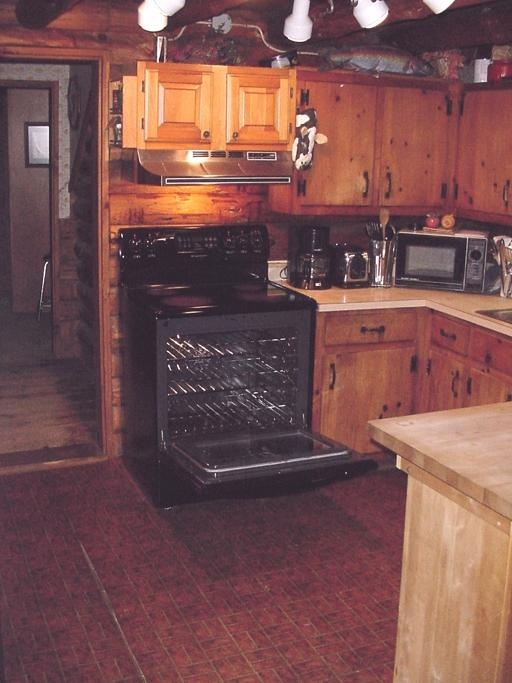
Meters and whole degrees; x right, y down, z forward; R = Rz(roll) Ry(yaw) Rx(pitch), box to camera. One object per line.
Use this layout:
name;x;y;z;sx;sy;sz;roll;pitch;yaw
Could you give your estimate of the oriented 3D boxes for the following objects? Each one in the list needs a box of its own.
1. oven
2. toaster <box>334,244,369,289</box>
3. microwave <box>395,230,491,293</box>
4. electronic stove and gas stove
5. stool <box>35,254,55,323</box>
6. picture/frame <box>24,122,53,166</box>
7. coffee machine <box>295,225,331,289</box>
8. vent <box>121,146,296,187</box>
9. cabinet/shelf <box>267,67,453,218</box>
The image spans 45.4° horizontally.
oven;-0.125;0.256;2.905;0.832;0.904;1.177;-2;12;-14
toaster;0.544;-0.425;3.515;0.160;0.200;0.268;-6;18;-13
microwave;1.011;-0.444;3.387;0.547;0.379;0.337;6;11;28
electronic stove and gas stove;-0.265;-0.319;3.128;0.997;0.185;0.724;-3;15;-31
stool;-2.321;-0.575;6.648;0.149;0.638;0.419;-2;12;-21
picture/frame;-2.377;-2.129;6.628;0.234;0.481;0.204;-2;12;-20
coffee machine;0.335;-0.453;3.340;0.217;0.338;0.121;-3;12;-22
vent;-0.184;-0.840;2.954;0.767;0.200;0.240;-4;13;-28
cabinet/shelf;0.536;-1.096;3.318;0.812;0.614;0.298;-4;15;-20
